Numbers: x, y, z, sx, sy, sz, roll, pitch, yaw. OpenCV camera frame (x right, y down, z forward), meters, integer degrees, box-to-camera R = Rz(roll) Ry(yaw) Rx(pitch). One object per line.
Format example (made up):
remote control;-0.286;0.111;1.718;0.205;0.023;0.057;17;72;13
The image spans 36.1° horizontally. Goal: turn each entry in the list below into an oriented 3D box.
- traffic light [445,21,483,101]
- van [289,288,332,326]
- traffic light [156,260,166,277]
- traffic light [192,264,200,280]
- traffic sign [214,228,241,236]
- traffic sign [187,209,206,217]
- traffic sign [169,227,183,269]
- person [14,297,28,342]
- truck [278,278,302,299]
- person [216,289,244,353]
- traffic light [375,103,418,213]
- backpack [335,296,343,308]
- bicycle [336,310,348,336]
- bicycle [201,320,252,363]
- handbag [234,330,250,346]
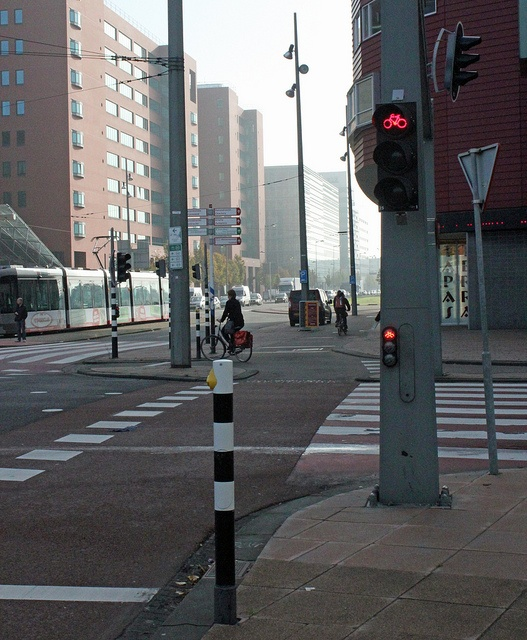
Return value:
traffic light;2.062;-2.765;8.410;0.362;0.819;0.866;-2;2;16
van;2.009;-0.656;36.009;1.102;1.323;2.268;0;5;10
traffic light;-2.158;-1.121;17.126;0.184;0.313;0.661;-3;1;-5
traffic light;-1.659;-1.213;19.897;0.167;0.307;0.627;-3;1;-8
traffic sign;-0.923;-2.267;20.672;0.663;0.168;0.543;-4;1;-4
traffic sign;-1.663;-2.746;20.655;0.445;0.174;0.381;-4;1;-11
traffic sign;-1.754;-1.447;16.130;0.283;0.984;0.072;-1;-28;-6
person;-8.800;-0.054;29.452;0.341;1.498;2.139;-3;1;-17
truck;2.905;-4.282;99.205;1.529;2.798;5.164;-1;-1;7
person;-0.699;0.034;17.738;0.480;1.100;1.027;-3;1;-2
traffic light;0.865;-1.079;5.317;0.206;0.759;0.187;2;8;31
backpack;2.546;-0.619;27.570;0.283;0.571;0.274;0;-2;0
bicycle;2.649;0.004;27.519;0.336;0.526;0.801;-4;15;8
bicycle;-0.811;0.423;18.103;1.296;0.964;0.700;1;-11;-35
handbag;-0.468;0.382;17.686;0.277;0.332;0.295;0;-5;-1
